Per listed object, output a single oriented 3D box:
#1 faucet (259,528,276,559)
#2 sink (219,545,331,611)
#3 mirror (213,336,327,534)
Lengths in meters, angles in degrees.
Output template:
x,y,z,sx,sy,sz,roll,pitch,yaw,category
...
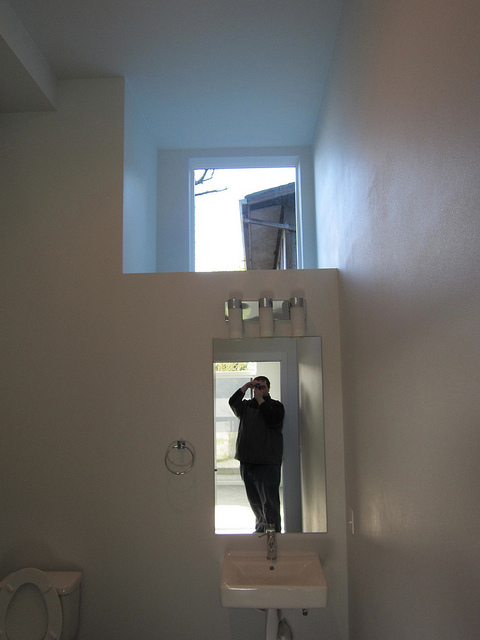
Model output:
x,y,z,sx,sy,sz,roll,pitch,yaw,category
0.114,1.015,2.772,0.051,0.133,0.080,1,-14,-3,faucet
0.130,1.096,2.637,0.469,0.168,0.429,-1,-8,2,sink
0.184,0.601,2.972,0.604,0.057,1.467,-2,-52,1,mirror
